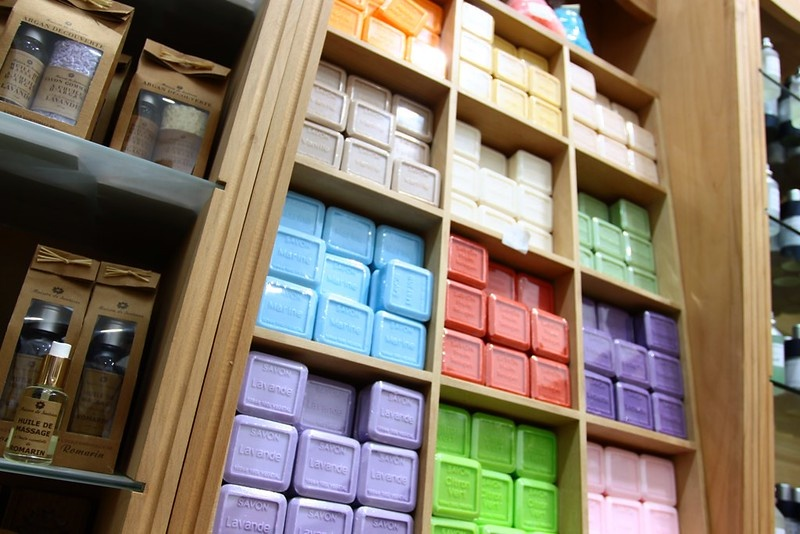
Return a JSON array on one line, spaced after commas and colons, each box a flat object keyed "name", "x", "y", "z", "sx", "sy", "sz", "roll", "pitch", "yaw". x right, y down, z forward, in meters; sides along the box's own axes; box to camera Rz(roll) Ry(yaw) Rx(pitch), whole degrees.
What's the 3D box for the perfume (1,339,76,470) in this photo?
[{"name": "perfume", "x": -0.869, "y": 0.329, "z": 1.551, "sx": 0.106, "sy": 0.291, "sz": 0.121, "roll": 16, "pitch": -24, "yaw": -24}]
